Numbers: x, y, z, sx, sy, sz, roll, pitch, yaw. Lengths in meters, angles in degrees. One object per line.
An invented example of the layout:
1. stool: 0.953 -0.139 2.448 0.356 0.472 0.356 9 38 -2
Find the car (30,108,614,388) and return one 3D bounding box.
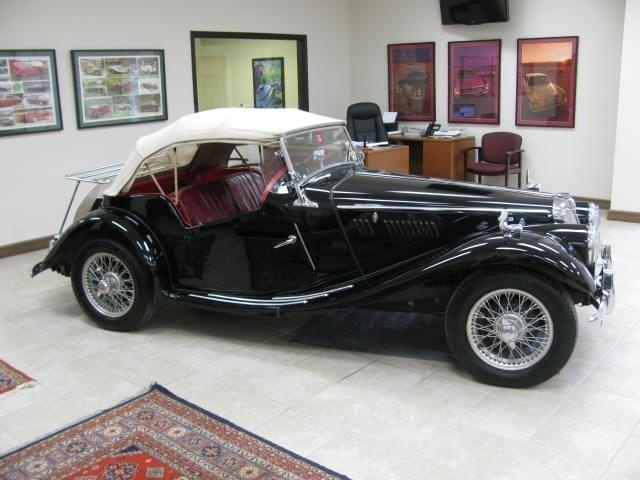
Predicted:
1. car: -0.241 0.065 3.831 3.979 1.106 1.309 5 20 16
